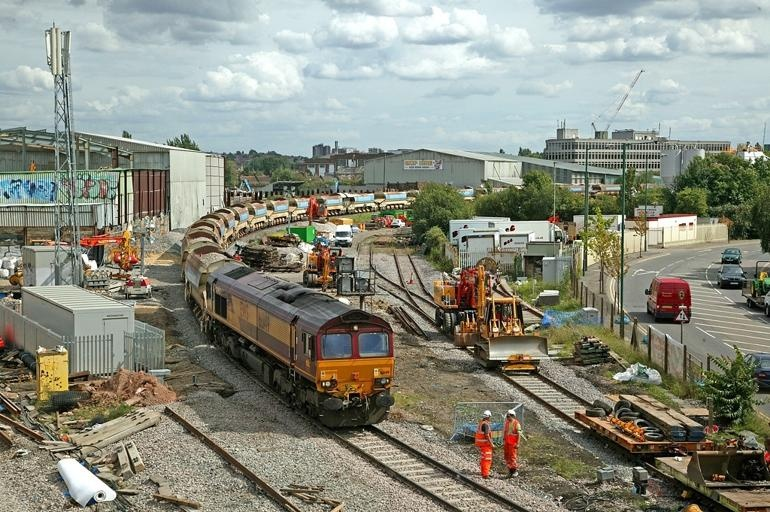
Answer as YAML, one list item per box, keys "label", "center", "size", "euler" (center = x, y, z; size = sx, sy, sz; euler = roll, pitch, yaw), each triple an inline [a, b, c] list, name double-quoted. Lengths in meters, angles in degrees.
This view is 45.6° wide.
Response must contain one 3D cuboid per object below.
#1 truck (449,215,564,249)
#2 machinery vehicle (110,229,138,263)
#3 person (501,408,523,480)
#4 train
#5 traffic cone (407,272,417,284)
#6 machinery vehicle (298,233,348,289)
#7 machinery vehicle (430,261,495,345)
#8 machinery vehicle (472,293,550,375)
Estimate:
- label: "truck"
  center: [12.991, -1.337, 83.106]
  size: [14.101, 4.105, 3.714]
  euler: [0, 8, 2]
- label: "machinery vehicle"
  center: [-18.559, -0.652, 65.626]
  size: [2.025, 2.509, 0.893]
  euler: [4, 36, -21]
- label: "person"
  center: [4.722, 6.838, 33.710]
  size: [0.635, 2.324, 0.912]
  euler: [6, 14, 9]
- label: "train"
  center: [-4.910, 3.558, 44.542]
  size: [4.569, 4.633, 21.608]
  euler: [0, 4, -22]
- label: "traffic cone"
  center: [2.361, 1.769, 73.850]
  size: [0.722, 0.907, 0.742]
  euler: [1, -4, -1]
- label: "machinery vehicle"
  center: [-4.562, 0.579, 67.098]
  size: [2.481, 3.257, 7.262]
  euler: [4, 3, -12]
- label: "machinery vehicle"
  center: [5.629, 2.550, 49.544]
  size: [3.084, 4.206, 4.671]
  euler: [2, -2, -5]
- label: "machinery vehicle"
  center: [6.418, 3.745, 47.842]
  size: [2.975, 3.085, 6.293]
  euler: [-1, 8, -4]
